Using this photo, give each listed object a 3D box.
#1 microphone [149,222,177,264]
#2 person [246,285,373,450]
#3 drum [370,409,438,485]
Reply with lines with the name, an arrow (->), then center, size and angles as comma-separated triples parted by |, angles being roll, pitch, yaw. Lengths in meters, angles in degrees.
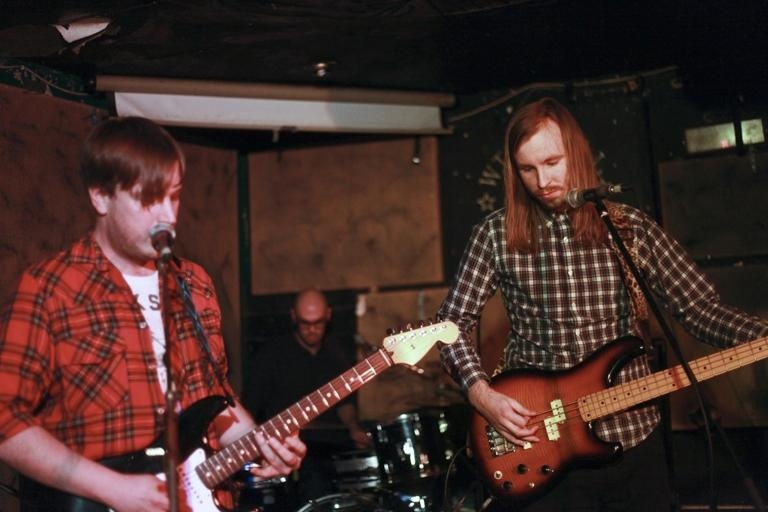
microphone -> -1.036, -0.062, 3.765 | 0.107, 0.209, 0.227 | -5, -4, -17
person -> -0.474, 0.726, 5.178 | 1.042, 1.241, 0.700 | -2, -3, -7
drum -> 0.143, 1.163, 4.968 | 0.410, 0.376, 0.408 | -15, -8, 6
